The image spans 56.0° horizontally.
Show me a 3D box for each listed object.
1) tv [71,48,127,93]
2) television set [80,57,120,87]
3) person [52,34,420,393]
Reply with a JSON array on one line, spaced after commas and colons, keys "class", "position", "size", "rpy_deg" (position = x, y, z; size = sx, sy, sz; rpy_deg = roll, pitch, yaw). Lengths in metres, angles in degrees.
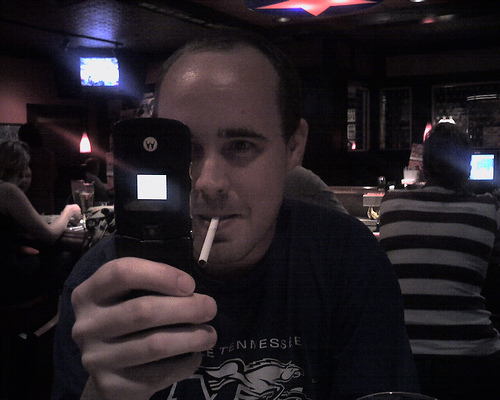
[{"class": "tv", "position": [-2.826, -2.318, 8.952], "size": [1.012, 0.805, 0.551], "rpy_deg": [-2, -1, -16]}, {"class": "television set", "position": [-2.779, -2.371, 8.692], "size": [0.693, 0.570, 0.280], "rpy_deg": [2, 6, -10]}, {"class": "person", "position": [0.005, 0.065, 1.339], "size": [0.990, 1.063, 0.525], "rpy_deg": [0, 7, -32]}]
